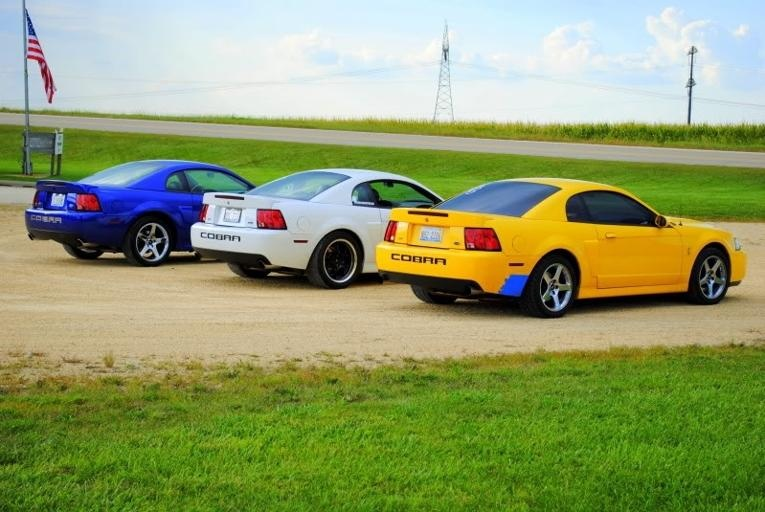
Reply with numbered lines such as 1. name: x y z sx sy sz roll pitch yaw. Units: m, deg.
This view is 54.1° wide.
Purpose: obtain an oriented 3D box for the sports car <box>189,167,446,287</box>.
1. sports car: -0.818 -0.633 12.140 4.009 1.227 1.852 -9 10 -40

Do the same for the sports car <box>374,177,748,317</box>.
1. sports car: 2.650 -0.187 10.747 4.546 1.417 2.025 -5 5 -26
